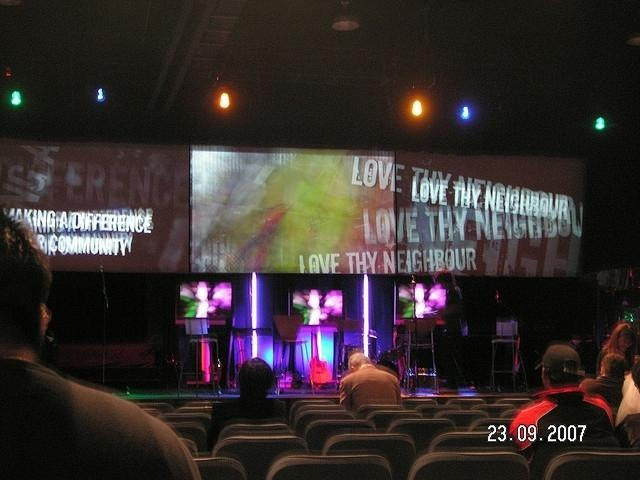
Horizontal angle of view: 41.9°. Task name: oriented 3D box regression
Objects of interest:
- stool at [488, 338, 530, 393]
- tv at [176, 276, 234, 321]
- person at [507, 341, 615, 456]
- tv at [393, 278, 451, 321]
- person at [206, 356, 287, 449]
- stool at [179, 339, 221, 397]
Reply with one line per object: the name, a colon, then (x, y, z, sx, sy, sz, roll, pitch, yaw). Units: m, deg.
stool: (3.545, 2.292, 15.714, 0.892, 1.365, 0.964, -3, -18, 15)
tv: (-2.160, 1.218, 16.022, 1.160, 0.844, 0.666, -1, -8, 3)
person: (2.383, 1.651, 8.465, 1.320, 1.425, 0.900, -1, 4, 3)
tv: (1.926, 1.108, 16.037, 0.792, 0.611, 0.080, 0, 2, -9)
person: (-0.790, 1.867, 9.246, 0.726, 1.216, 0.626, 7, 26, -9)
stool: (-2.237, 2.189, 15.625, 0.704, 1.194, 0.744, 0, 10, -29)
